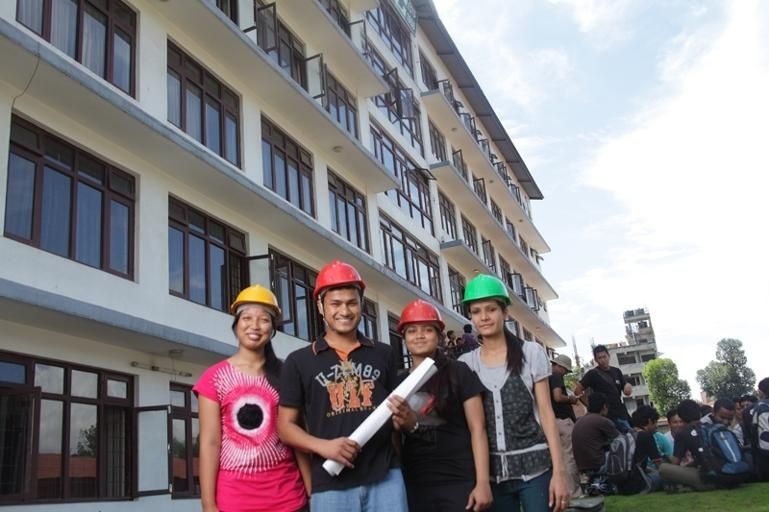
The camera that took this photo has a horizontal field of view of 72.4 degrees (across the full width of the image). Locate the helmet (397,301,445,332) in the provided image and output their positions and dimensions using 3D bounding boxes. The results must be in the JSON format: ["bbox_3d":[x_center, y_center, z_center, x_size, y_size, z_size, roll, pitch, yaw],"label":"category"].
[{"bbox_3d":[0.357,0.554,5.065,0.297,0.192,0.370,-2,-30,7],"label":"helmet"}]

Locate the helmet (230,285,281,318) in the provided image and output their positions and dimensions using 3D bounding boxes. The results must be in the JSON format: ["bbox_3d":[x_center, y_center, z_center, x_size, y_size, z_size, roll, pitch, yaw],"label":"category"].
[{"bbox_3d":[-1.219,0.371,5.172,0.458,0.294,0.570,5,-30,-4],"label":"helmet"}]
